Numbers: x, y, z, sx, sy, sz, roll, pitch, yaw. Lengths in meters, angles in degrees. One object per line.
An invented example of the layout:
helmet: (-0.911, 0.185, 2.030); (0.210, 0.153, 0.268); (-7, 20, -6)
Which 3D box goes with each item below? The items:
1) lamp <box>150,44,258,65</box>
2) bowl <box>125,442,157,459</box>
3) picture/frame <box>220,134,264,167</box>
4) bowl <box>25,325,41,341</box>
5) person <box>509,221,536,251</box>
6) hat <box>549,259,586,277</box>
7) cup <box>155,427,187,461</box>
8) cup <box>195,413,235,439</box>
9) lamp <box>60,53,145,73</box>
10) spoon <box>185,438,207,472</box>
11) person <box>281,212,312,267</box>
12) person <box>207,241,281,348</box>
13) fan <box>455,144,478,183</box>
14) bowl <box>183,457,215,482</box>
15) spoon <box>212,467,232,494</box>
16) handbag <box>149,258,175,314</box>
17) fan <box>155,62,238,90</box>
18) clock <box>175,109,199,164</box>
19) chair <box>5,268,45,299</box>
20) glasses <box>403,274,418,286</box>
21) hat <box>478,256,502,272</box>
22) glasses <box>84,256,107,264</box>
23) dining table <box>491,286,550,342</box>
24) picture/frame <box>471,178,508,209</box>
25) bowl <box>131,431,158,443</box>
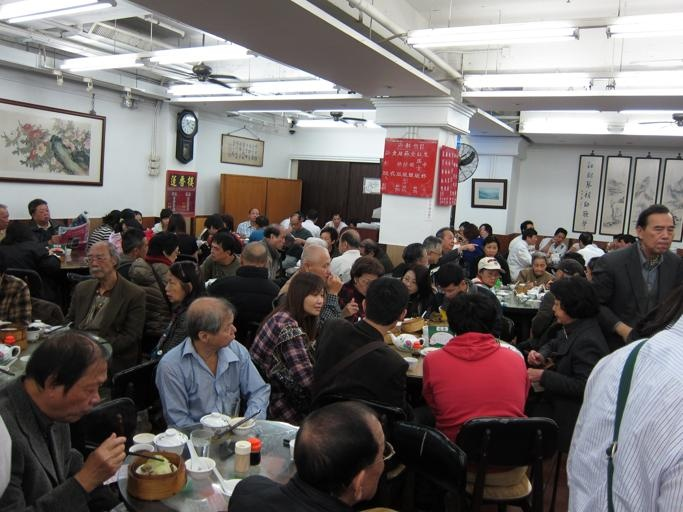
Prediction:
lamp: (-1.584, -2.266, 5.418); (1.386, 0.182, 0.337); (7, 6, 23)
bowl: (-0.795, 0.795, 1.951); (0.087, 0.038, 0.085); (8, 3, 0)
picture/frame: (-2.289, -2.457, 11.385); (0.066, 0.696, 1.375); (8, 6, 32)
bowl: (-1.968, 0.487, 3.109); (0.070, 0.045, 0.097); (2, 24, -13)
person: (3.257, -0.366, 8.744); (0.359, 0.644, 0.710); (2, 5, 15)
hat: (2.355, 0.129, 5.060); (0.182, 0.127, 0.244); (-4, 18, -28)
cup: (-0.712, 0.801, 2.065); (0.118, 0.086, 0.117); (2, 0, 0)
cup: (-0.561, 0.756, 2.193); (0.095, 0.050, 0.111); (3, 4, 9)
lamp: (-3.050, -2.524, 6.301); (1.538, 0.142, 0.245); (7, 6, 28)
spoon: (-0.623, 0.836, 2.051); (0.041, 0.021, 0.149); (-9, 41, -26)
person: (-0.659, -0.048, 7.211); (0.464, 1.117, 0.325); (4, 21, 11)
person: (-0.783, 0.402, 4.097); (0.524, 1.257, 0.440); (6, 37, -8)
fan: (2.424, -1.763, 9.251); (0.324, 0.716, 2.260); (6, 6, 14)
bowl: (-0.575, 0.869, 1.978); (0.111, 0.059, 0.096); (3, 6, -19)
spoon: (-0.458, 0.892, 1.926); (0.058, 0.050, 0.098); (-7, 26, -45)
handbag: (-1.382, 0.251, 3.743); (0.124, 0.323, 0.247); (-41, 14, -12)
fan: (-2.096, -2.693, 7.200); (0.765, 0.248, 0.763); (6, 16, 3)
clock: (-3.039, -2.345, 9.515); (0.218, 1.036, 0.463); (8, 6, 30)
chair: (-2.648, 0.229, 4.063); (0.226, 0.301, 0.200); (6, 19, -21)
glasses: (0.583, 0.204, 4.054); (0.088, 0.106, 0.066); (4, -11, 19)
hat: (1.434, 0.078, 4.734); (0.135, 0.090, 0.181); (3, -5, -26)
glasses: (-1.830, 0.030, 3.626); (0.060, 0.033, 0.077); (-4, -21, 3)
dining table: (1.940, 0.574, 5.261); (0.656, 0.531, 0.723); (2, 4, 39)
picture/frame: (3.371, -1.424, 10.950); (0.652, 0.572, 0.044); (10, 8, 28)
bowl: (-0.836, 0.780, 2.078); (0.065, 0.029, 0.070); (5, -3, 0)
